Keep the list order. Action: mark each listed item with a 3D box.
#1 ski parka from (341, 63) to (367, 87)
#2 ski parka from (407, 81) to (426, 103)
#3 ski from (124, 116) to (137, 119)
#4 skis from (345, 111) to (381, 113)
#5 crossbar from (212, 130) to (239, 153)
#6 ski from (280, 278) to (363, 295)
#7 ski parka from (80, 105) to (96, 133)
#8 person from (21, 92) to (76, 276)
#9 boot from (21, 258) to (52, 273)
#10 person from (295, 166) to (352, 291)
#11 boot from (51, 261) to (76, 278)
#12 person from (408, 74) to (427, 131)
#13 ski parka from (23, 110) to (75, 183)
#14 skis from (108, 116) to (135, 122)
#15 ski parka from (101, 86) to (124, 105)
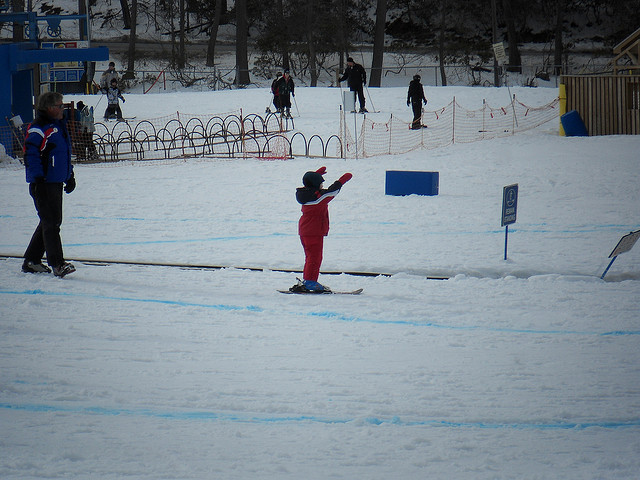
[{"bbox_3d":[1.055,-5.120,39.651,0.603,0.699,1.308,1,10,8],"label":"ski parka"},{"bbox_3d":[2.777,-4.233,36.406,0.450,0.607,0.506,0,10,3],"label":"ski parka"},{"bbox_3d":[-5.972,-3.848,40.130,0.325,0.097,0.170,2,5,7],"label":"ski"},{"bbox_3d":[1.339,-3.973,39.592,1.124,0.136,0.021,-1,15,-19],"label":"skis"},{"bbox_3d":[-2.698,-2.777,36.294,1.043,0.668,0.127,-3,9,-9],"label":"crossbar"},{"bbox_3d":[-0.002,0.875,23.301,1.432,0.232,0.233,0,10,0],"label":"ski"},{"bbox_3d":[-6.390,-3.307,34.942,0.362,0.729,0.990,-2,10,-10],"label":"ski parka"},{"bbox_3d":[-4.998,-1.035,23.607,0.907,3.351,0.736,5,12,25],"label":"person"},{"bbox_3d":[-5.322,0.499,23.753,0.618,0.230,0.203,1,3,-12],"label":"boot"},{"bbox_3d":[-0.015,-0.145,23.250,0.754,2.154,0.349,0,11,-1],"label":"person"},{"bbox_3d":[-4.731,0.556,23.570,0.564,0.230,0.190,-11,13,0],"label":"boot"},{"bbox_3d":[2.815,-3.962,36.661,0.496,1.594,1.172,0,11,3],"label":"person"},{"bbox_3d":[-5.047,-1.716,23.583,0.872,1.364,0.511,-4,11,-19],"label":"ski parka"},{"bbox_3d":[-6.049,-3.775,39.731,1.105,0.157,0.040,-3,8,-37],"label":"skis"},{"bbox_3d":[-6.283,-4.423,38.905,0.391,0.563,0.669,-2,10,-8],"label":"ski parka"}]
